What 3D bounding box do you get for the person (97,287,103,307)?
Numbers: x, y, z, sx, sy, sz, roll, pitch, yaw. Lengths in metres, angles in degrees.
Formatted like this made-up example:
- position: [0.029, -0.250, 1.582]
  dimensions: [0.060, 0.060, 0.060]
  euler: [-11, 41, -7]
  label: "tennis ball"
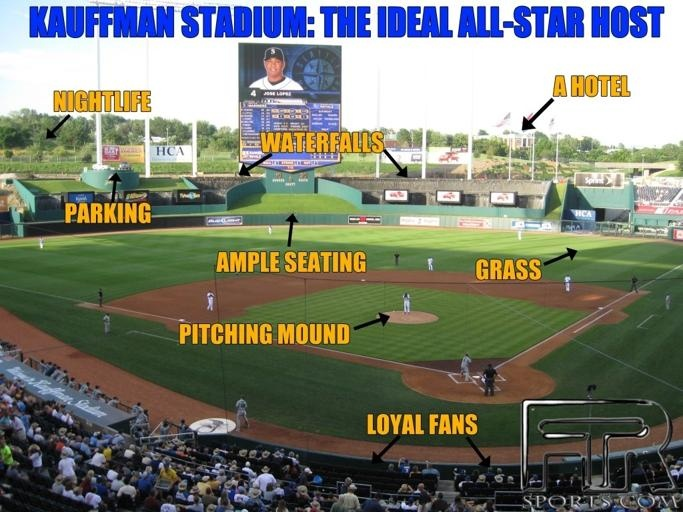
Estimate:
- position: [-15.084, 2.633, 56.887]
  dimensions: [0.372, 1.168, 1.162]
  euler: [-3, 2, -5]
  label: "person"
